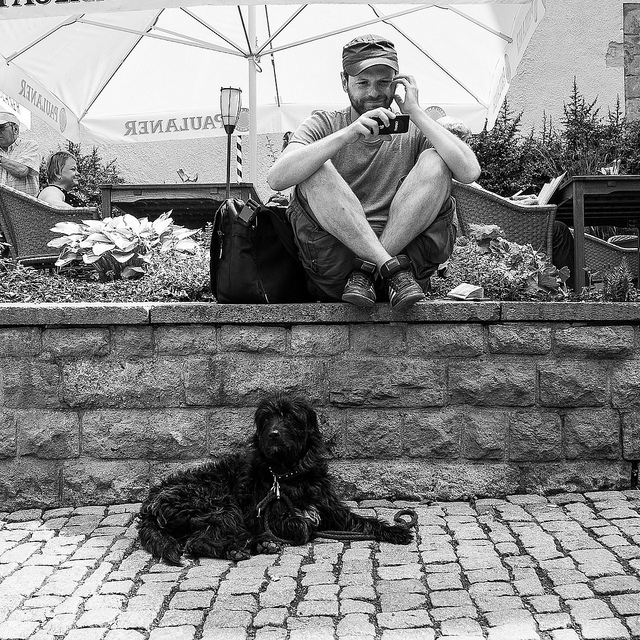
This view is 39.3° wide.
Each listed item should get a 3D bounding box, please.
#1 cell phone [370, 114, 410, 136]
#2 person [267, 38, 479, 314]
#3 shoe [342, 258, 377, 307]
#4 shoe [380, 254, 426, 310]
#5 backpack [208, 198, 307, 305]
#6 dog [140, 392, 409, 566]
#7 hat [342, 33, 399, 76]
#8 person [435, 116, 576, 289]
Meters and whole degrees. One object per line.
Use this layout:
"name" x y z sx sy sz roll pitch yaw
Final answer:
"cell phone" 0.316 -0.882 4.023 0.166 0.081 0.132 0 8 -2
"person" 0.314 -0.651 4.591 1.152 1.483 1.293 1 1 -10
"shoe" 0.186 -0.166 4.053 0.142 0.228 0.164 2 8 15
"shoe" 0.367 -0.165 4.037 0.179 0.251 0.214 -1 8 -8
"backpack" -0.250 -0.292 4.444 0.477 0.554 0.587 -2 3 12
"dog" -0.206 0.691 3.781 1.128 0.621 0.601 -6 -9 5
"hat" 0.234 -1.243 4.149 0.258 0.169 0.339 -5 17 4
"person" 1.272 -0.615 5.898 0.718 0.937 0.618 2 13 14
